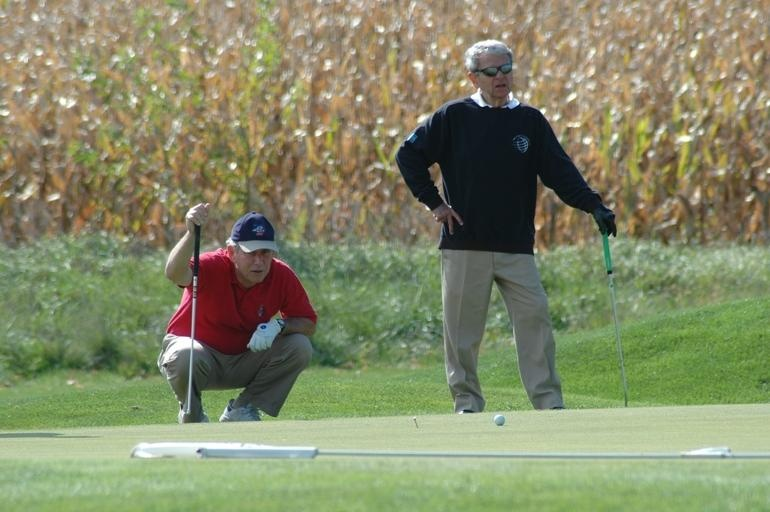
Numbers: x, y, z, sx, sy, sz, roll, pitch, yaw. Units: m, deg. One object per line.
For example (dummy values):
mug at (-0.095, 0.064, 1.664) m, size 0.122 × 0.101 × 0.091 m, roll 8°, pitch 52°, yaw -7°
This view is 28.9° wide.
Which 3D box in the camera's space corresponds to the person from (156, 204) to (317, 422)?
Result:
person at (-1.486, 0.634, 14.506) m, size 1.457 × 2.210 × 1.123 m, roll 4°, pitch -1°, yaw -28°

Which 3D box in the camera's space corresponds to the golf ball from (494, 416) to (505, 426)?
golf ball at (0.986, 1.408, 12.856) m, size 0.069 × 0.080 × 0.072 m, roll 3°, pitch 14°, yaw -1°

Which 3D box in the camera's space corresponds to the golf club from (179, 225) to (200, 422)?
golf club at (-1.822, 0.620, 14.202) m, size 0.257 × 1.605 × 0.255 m, roll 2°, pitch -1°, yaw -18°
